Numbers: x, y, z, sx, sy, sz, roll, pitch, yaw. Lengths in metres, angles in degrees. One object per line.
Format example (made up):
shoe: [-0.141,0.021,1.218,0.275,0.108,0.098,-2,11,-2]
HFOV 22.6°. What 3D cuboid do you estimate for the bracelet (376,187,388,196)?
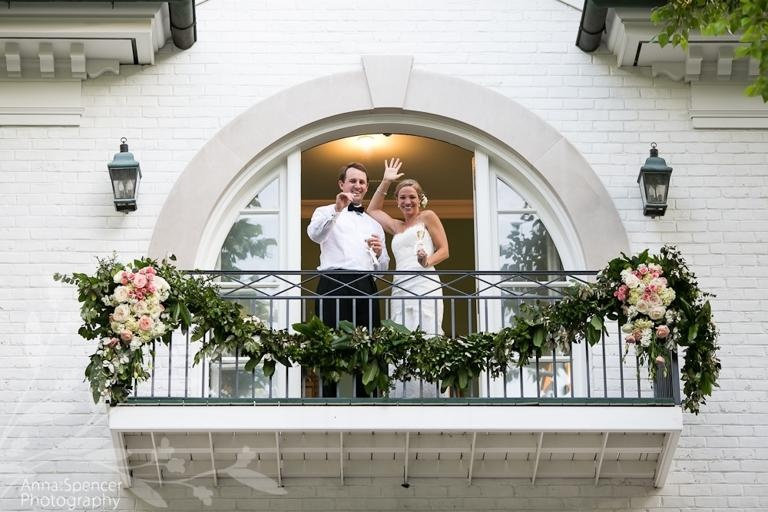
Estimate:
bracelet: [-0.010,-0.585,17.973,0.108,0.046,0.114,2,-4,0]

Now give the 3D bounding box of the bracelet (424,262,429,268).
bracelet: [0.398,0.126,17.745,0.038,0.034,0.027,-33,-22,17]

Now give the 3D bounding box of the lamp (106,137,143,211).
lamp: [-2.407,-0.704,17.844,0.286,0.634,0.227,1,-7,-8]

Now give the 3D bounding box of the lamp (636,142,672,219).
lamp: [2.530,-0.666,17.964,0.308,0.660,0.251,0,-6,5]
